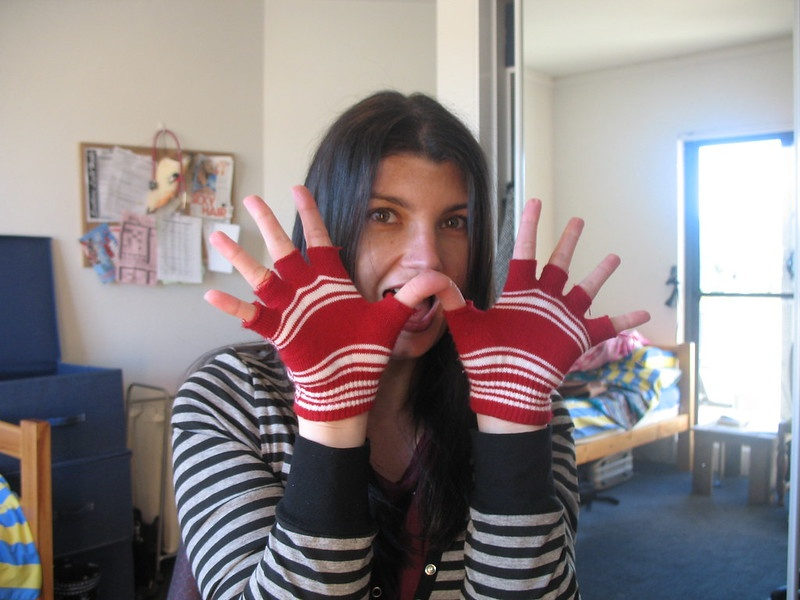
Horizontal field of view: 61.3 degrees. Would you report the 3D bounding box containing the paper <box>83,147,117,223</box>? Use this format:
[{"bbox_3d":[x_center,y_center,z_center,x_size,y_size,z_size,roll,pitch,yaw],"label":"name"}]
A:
[{"bbox_3d":[-1.335,-0.519,3.000,0.136,0.341,0.036,-3,4,-27],"label":"paper"}]

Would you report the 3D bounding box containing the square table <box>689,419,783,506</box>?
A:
[{"bbox_3d":[0.882,0.426,1.774,0.188,0.184,0.171,-10,-22,40],"label":"square table"}]

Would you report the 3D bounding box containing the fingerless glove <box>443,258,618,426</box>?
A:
[{"bbox_3d":[0.253,0.052,1.305,0.310,0.313,0.088,13,4,-7],"label":"fingerless glove"}]

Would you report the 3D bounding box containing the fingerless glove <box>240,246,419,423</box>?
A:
[{"bbox_3d":[-0.132,0.063,1.297,0.292,0.311,0.069,-14,-9,-15],"label":"fingerless glove"}]
